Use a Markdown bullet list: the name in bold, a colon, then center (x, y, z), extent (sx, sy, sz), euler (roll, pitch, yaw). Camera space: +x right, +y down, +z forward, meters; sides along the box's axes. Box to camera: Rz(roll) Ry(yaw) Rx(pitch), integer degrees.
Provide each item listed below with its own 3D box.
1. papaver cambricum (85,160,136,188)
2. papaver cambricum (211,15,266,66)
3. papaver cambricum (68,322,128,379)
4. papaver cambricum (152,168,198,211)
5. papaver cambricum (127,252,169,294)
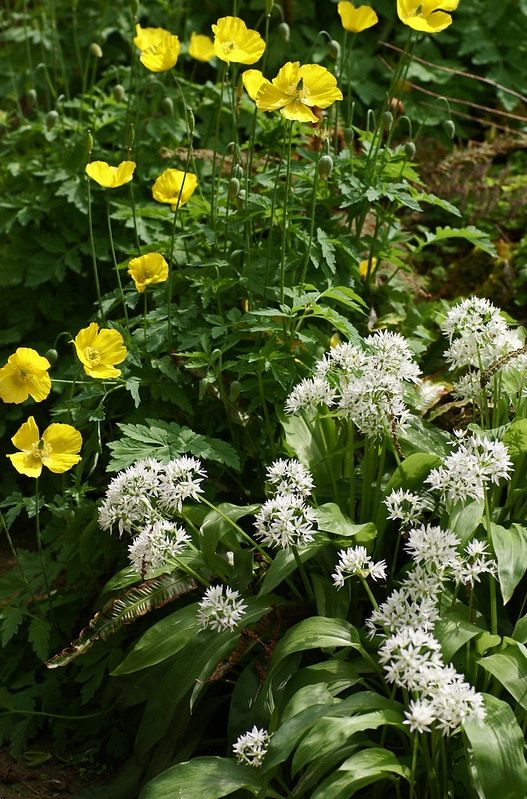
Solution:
- **papaver cambricum**: center (-0.375, -0.548, 1.624), extent (0.104, 0.059, 0.186), euler (0, 17, -15)
- **papaver cambricum**: center (-0.059, -0.883, 1.651), extent (0.127, 0.119, 0.245), euler (4, 16, -3)
- **papaver cambricum**: center (-0.395, -0.127, 1.541), extent (0.135, 0.062, 0.138), euler (19, -14, -16)
- **papaver cambricum**: center (-0.211, -0.521, 1.669), extent (0.102, 0.098, 0.176), euler (8, 17, 11)
- **papaver cambricum**: center (-0.285, -0.312, 1.649), extent (0.089, 0.098, 0.075), euler (2, 17, -10)
